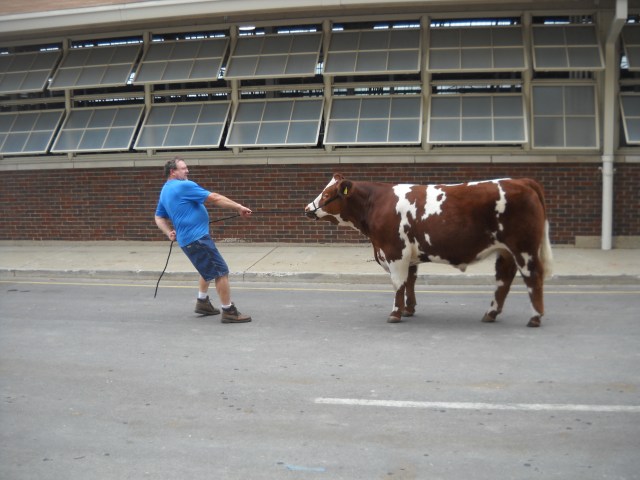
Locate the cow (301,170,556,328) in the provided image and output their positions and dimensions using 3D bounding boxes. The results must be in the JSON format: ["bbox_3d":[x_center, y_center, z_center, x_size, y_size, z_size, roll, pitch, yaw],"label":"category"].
[{"bbox_3d":[1.697,0.153,14.190,4.448,2.026,1.121,2,-3,31],"label":"cow"}]

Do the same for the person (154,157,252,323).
[{"bbox_3d":[-1.995,-0.004,14.310,1.379,2.764,1.004,-3,4,-10],"label":"person"}]

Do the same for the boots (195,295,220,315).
[{"bbox_3d":[-1.848,1.146,14.697,0.533,0.296,0.199,0,8,-29],"label":"boots"}]

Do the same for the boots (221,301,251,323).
[{"bbox_3d":[-1.425,1.243,14.187,0.603,0.302,0.223,0,3,-10],"label":"boots"}]
